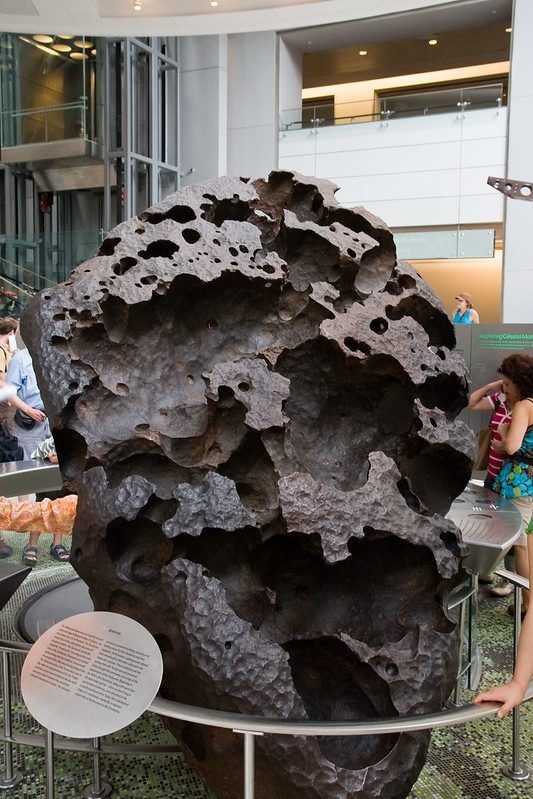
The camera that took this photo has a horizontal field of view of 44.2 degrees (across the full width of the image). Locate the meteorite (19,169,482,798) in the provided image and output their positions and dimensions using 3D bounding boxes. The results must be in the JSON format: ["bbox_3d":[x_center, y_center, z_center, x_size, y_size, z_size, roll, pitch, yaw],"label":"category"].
[{"bbox_3d":[-0.034,0.029,2.168,1.399,1.654,1.278,5,11,16],"label":"meteorite"}]
